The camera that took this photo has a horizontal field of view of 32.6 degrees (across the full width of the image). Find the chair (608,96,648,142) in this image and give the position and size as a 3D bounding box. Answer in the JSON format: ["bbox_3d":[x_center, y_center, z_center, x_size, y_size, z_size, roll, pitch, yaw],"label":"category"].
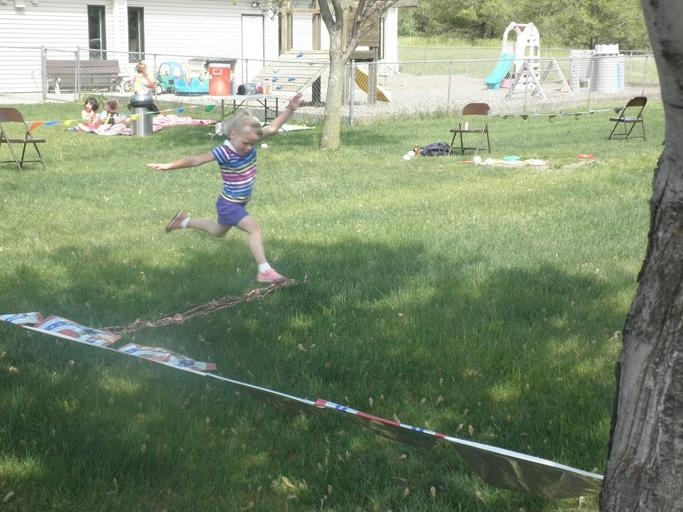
[{"bbox_3d":[6.307,-2.995,25.543,0.548,1.008,0.717,-8,14,-30],"label":"chair"}]

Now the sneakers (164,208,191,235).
[{"bbox_3d":[-2.276,-0.402,15.958,0.206,0.496,0.189,28,31,-21],"label":"sneakers"}]

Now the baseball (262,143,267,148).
[{"bbox_3d":[-1.711,-2.423,25.582,0.113,0.070,0.166,-1,8,-6],"label":"baseball"}]

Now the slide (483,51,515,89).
[{"bbox_3d":[5.803,-6.685,41.654,0.722,0.399,2.339,8,50,26],"label":"slide"}]

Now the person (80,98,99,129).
[{"bbox_3d":[-6.082,-3.389,27.972,0.408,1.046,1.025,0,-10,-13],"label":"person"}]

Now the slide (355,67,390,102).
[{"bbox_3d":[0.777,-4.980,34.994,0.351,0.599,2.412,32,3,24],"label":"slide"}]

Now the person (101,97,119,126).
[{"bbox_3d":[-5.532,-3.408,27.679,0.329,0.824,0.677,0,-10,-12],"label":"person"}]

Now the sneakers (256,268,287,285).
[{"bbox_3d":[-0.936,0.265,15.442,0.385,0.196,0.187,2,10,19],"label":"sneakers"}]

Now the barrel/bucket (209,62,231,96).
[{"bbox_3d":[-2.843,-4.085,27.036,0.562,0.857,0.642,-3,17,-8],"label":"barrel/bucket"}]
